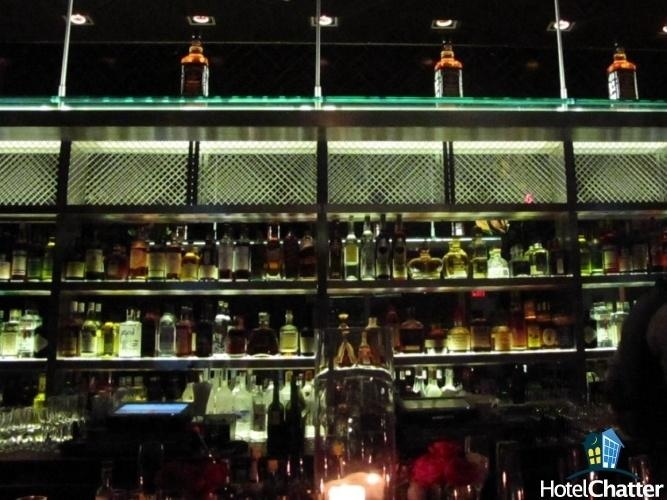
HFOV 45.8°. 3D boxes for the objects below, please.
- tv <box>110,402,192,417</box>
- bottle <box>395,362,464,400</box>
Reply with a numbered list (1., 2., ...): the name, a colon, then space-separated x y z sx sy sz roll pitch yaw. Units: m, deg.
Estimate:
1. tv: -0.800 0.707 3.501 0.336 0.058 0.115 -1 -5 -11
2. bottle: 0.526 0.736 4.398 0.234 0.187 0.070 -1 1 -5
